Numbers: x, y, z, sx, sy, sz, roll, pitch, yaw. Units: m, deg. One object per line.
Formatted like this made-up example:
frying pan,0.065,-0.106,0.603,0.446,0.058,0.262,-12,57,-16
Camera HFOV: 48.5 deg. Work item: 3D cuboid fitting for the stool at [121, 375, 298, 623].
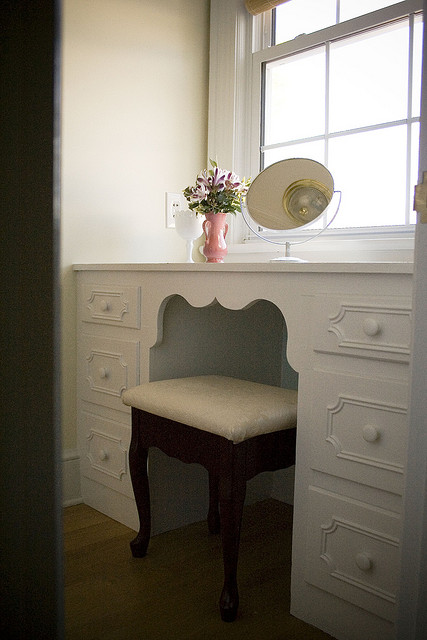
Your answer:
stool,-0.009,0.303,1.351,0.426,0.632,0.531,-3,6,-39

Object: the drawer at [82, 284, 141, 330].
drawer,-0.340,-0.060,1.693,0.252,0.148,0.180,5,8,17

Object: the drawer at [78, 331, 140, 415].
drawer,-0.353,0.179,1.691,0.253,0.293,0.146,6,8,19

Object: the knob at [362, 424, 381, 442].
knob,0.312,0.221,0.927,0.033,0.034,0.021,0,0,19

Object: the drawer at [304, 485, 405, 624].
drawer,0.323,0.486,1.041,0.227,0.255,0.169,5,9,42

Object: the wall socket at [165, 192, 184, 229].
wall socket,-0.164,-0.464,2.016,0.036,0.139,0.090,0,0,36

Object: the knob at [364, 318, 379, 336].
knob,0.312,0.014,0.930,0.009,0.033,0.024,-1,-11,-35

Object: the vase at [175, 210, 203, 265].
vase,-0.084,-0.317,1.828,0.098,0.179,0.151,0,0,20

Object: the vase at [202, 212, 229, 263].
vase,0.018,-0.288,1.685,0.101,0.165,0.130,0,0,-20

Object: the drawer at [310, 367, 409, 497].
drawer,0.327,0.213,1.035,0.211,0.243,0.178,6,14,13

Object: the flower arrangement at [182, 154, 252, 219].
flower arrangement,0.000,-0.484,1.672,0.159,0.171,0.161,7,-10,-28
